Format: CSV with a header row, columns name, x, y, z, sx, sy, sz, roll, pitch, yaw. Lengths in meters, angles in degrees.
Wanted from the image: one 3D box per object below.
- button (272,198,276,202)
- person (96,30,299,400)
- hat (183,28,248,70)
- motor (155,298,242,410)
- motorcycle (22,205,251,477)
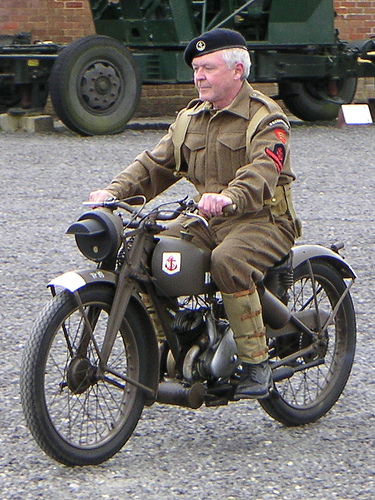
name,x,y,z,sx,sy,sz,roll,pitch,yaw
button,0.302,-0.175,2.721,0.018,0.016,0.004,-2,-3,-2
person,0.079,-0.162,2.810,0.627,1.184,0.669,11,19,43
hat,0.114,-0.737,2.792,0.185,0.071,0.216,-11,1,-41
motor,0.033,0.331,2.758,0.280,0.385,0.297,-10,3,-25
motorcycle,-0.197,0.256,2.796,0.875,0.879,1.127,4,8,3
